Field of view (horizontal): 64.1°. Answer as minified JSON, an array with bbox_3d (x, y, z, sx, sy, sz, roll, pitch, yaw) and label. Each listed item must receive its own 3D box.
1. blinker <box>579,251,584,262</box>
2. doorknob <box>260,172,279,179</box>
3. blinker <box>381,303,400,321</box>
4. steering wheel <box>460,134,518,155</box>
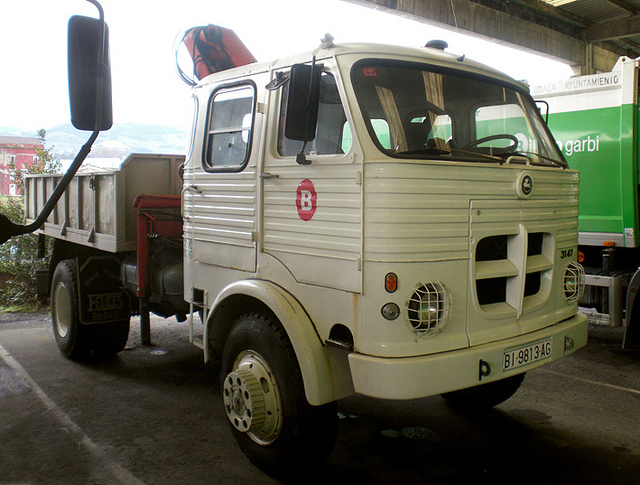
[{"bbox_3d":[3.826,0.205,7.508,0.082,0.139,0.032,-1,-5,-18],"label":"blinker"},{"bbox_3d":[-0.431,-0.552,4.203,0.206,0.053,0.064,8,11,44],"label":"doorknob"},{"bbox_3d":[0.496,0.478,3.578,0.098,0.121,0.043,4,-3,-3],"label":"blinker"},{"bbox_3d":[1.447,-0.807,4.259,0.286,0.088,0.335,-3,0,4],"label":"steering wheel"}]
